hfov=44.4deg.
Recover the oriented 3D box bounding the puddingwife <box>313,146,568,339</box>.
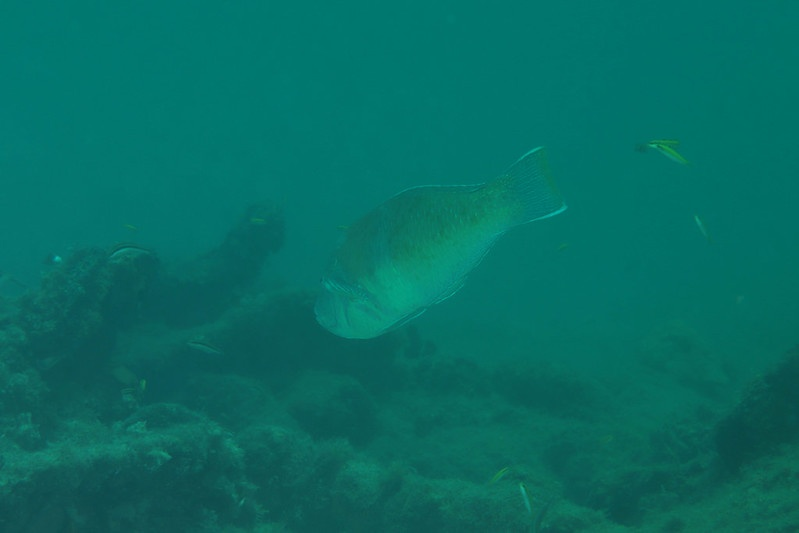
[{"bbox_3d":[0.204,-0.062,5.795,1.299,0.647,0.355,-31,15,15],"label":"puddingwife"}]
